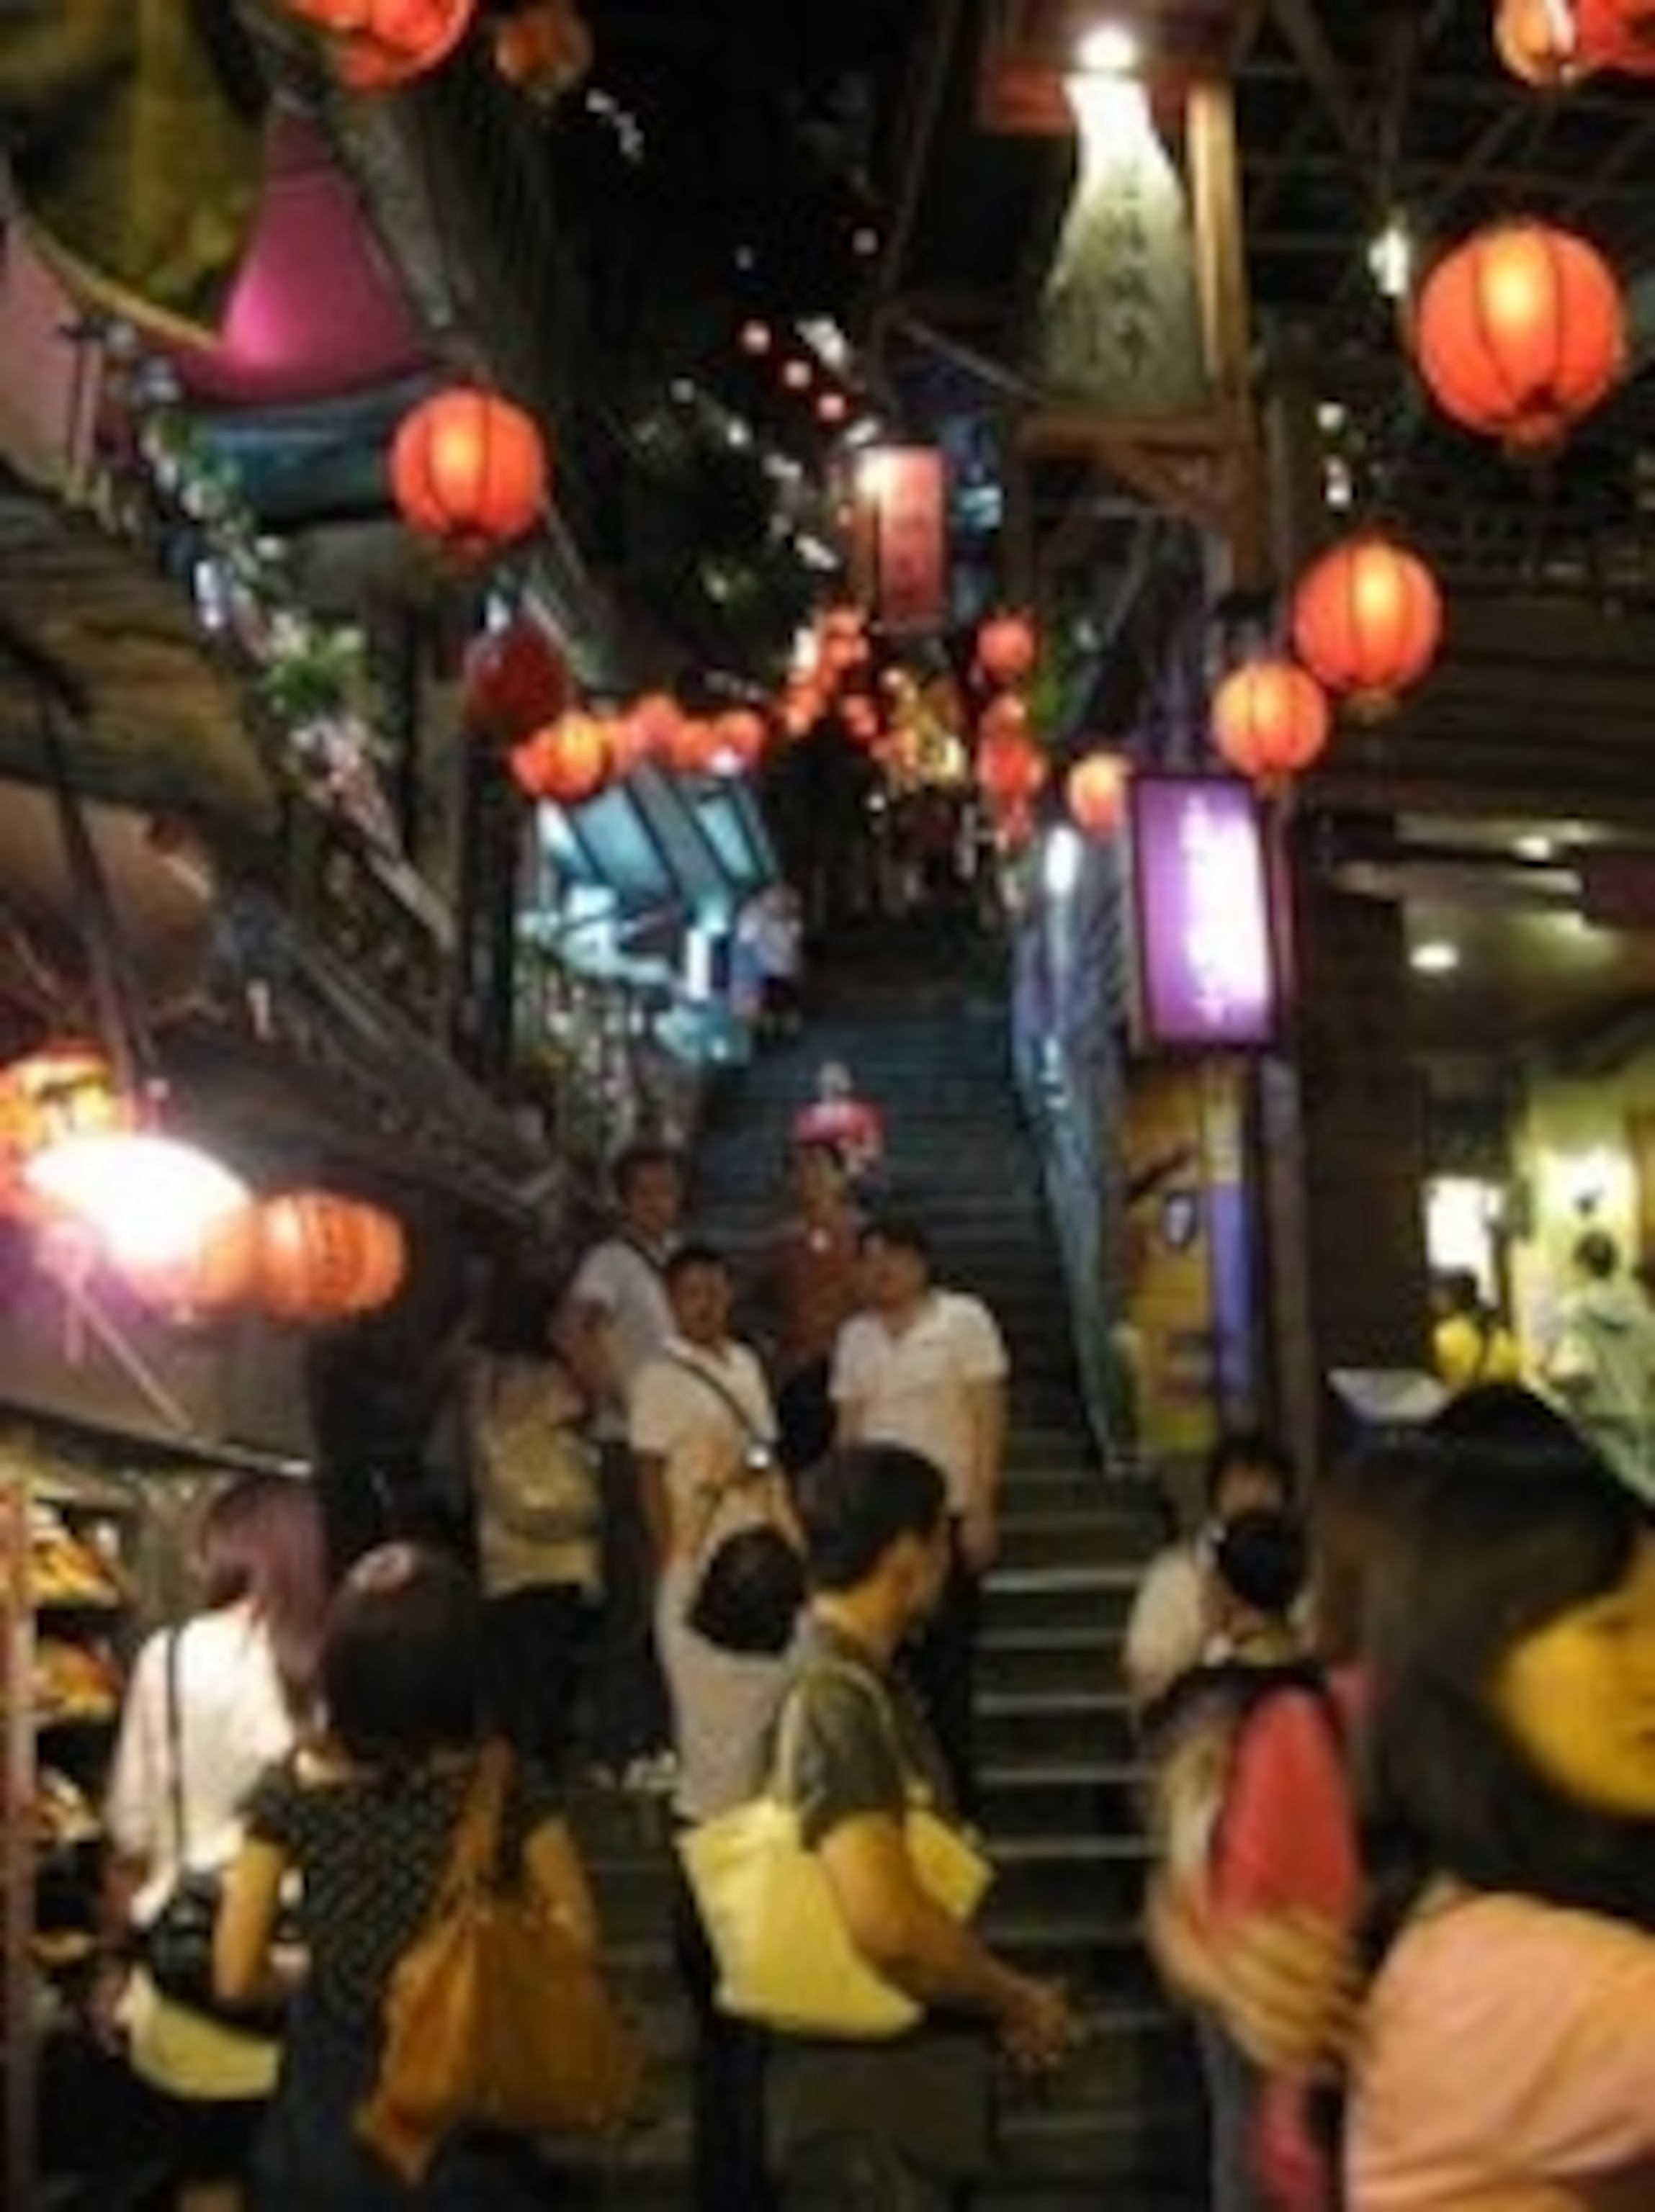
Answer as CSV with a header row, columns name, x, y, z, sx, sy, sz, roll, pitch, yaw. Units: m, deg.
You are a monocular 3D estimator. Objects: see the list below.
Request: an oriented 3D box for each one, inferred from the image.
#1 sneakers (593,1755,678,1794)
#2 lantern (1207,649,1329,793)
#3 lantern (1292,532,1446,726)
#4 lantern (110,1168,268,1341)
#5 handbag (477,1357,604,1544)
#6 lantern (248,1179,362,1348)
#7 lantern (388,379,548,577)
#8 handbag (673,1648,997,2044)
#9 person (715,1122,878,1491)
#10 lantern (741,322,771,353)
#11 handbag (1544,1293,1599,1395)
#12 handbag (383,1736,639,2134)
name,x,y,z,sx,sy,sz,roll,pitch,yaw
sneakers,-0.655,2.357,6.324,0.199,0.148,0.281,0,-11,2
lantern,2.134,-1.762,8.330,0.587,0.675,0.605,-3,2,21
lantern,2.325,-2.072,7.492,0.638,0.782,0.604,-20,25,-32
lantern,-1.931,0.455,5.341,0.411,0.405,0.422,2,-10,-36
handbag,-1.091,1.300,6.611,0.405,0.673,0.283,0,-11,-11
lantern,-1.896,0.494,6.080,0.383,0.464,0.389,-10,-9,26
lantern,-1.448,-2.577,7.168,0.611,0.706,0.630,0,2,3
handbag,0.019,1.086,2.576,0.459,0.523,0.213,3,-13,-18
person,-0.069,1.103,8.047,0.741,1.902,0.574,-4,1,12
lantern,-1.097,-11.821,27.252,0.347,0.418,0.352,6,13,0
handbag,3.952,1.276,9.374,0.223,0.559,0.556,3,-14,17
handbag,-0.495,1.290,2.703,0.210,0.559,0.399,-9,-13,36
